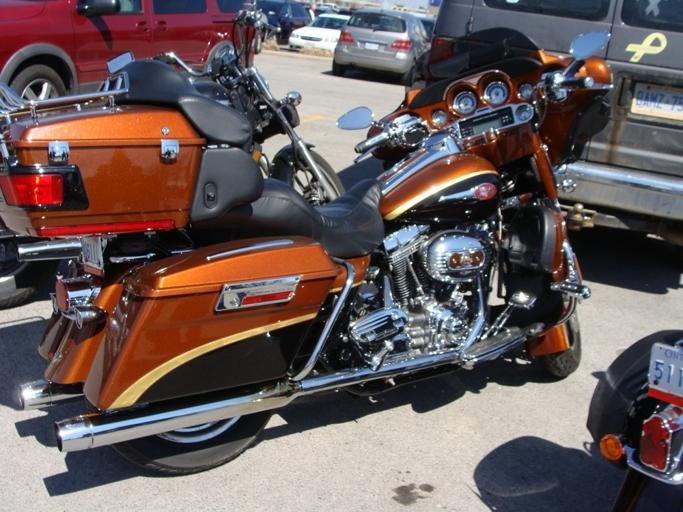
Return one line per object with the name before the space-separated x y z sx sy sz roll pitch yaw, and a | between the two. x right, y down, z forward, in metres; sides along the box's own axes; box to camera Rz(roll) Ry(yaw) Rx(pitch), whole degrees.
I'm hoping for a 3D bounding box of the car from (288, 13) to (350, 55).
car | -0.873 -8.296 20.045 1.705 1.086 3.587 10 21 18
